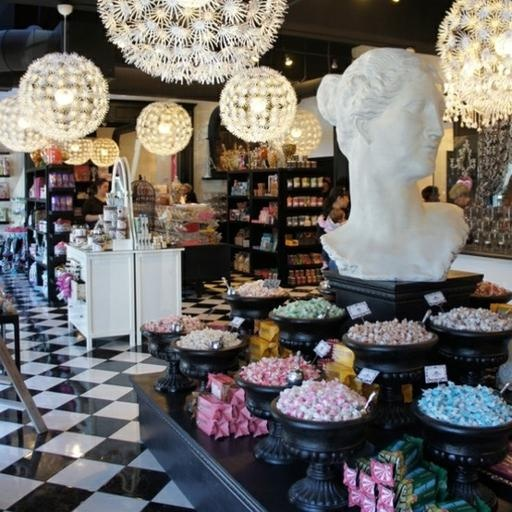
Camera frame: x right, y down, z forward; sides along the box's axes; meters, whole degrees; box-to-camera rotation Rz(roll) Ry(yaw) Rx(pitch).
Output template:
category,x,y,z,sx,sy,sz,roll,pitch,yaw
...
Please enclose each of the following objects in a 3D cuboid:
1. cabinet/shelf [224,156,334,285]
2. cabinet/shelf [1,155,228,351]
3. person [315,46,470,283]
category,x,y,z,sx,sy,sz,roll,pitch,yaw
cabinet/shelf,0.440,-0.639,8.250,0.954,1.976,2.713,-1,2,-18
cabinet/shelf,-1.483,-0.175,6.553,2.855,2.741,2.195,-1,3,-25
person,0.760,-0.490,2.636,0.781,1.226,0.457,2,6,14
